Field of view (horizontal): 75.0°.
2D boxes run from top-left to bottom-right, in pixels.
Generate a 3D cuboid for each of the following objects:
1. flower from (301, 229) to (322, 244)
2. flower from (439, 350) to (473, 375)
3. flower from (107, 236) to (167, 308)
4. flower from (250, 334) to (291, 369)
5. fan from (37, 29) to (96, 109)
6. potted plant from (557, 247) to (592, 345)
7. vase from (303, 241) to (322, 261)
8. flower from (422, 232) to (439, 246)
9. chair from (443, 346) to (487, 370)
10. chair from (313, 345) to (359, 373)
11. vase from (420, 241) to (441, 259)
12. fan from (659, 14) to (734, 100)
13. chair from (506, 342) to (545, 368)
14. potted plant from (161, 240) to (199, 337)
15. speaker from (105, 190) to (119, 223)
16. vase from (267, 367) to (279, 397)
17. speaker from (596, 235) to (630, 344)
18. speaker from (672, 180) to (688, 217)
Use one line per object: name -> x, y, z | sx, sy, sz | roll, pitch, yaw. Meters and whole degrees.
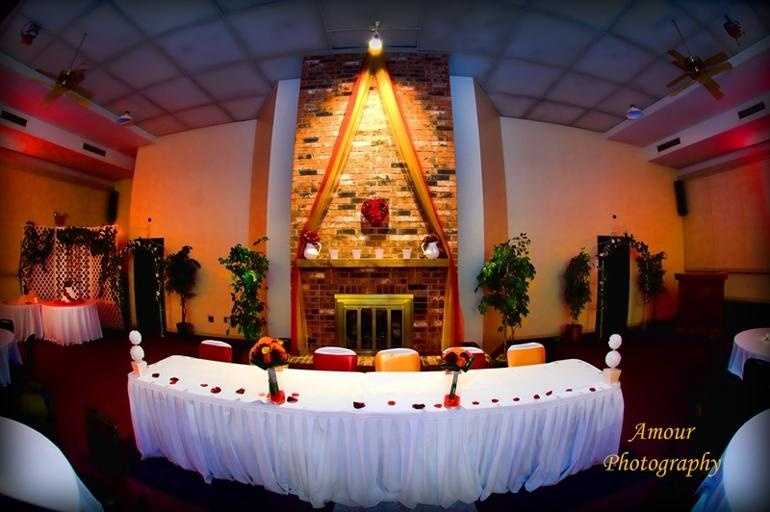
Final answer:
flower -> -1.218, -0.312, 8.271 | 0.217, 0.154, 0.221 | 7, 11, 1
flower -> 0.936, 1.360, 6.517 | 0.317, 0.330, 0.202 | -2, 25, 19
flower -> -4.649, 0.274, 9.328 | 1.091, 1.225, 0.308 | 2, -4, -7
flower -> -1.529, 1.251, 6.650 | 0.439, 0.261, 0.428 | 11, 38, -6
fan -> -4.934, -2.933, 7.740 | 0.683, 0.764, 0.688 | 36, 34, -13
potted plant -> 3.563, 0.712, 9.249 | 0.528, 1.679, 0.467 | -1, -5, 25
vase -> -1.206, -0.077, 8.293 | 0.301, 0.276, 0.197 | 4, -7, -26
flower -> 0.755, -0.271, 8.322 | 0.255, 0.262, 0.158 | -28, -8, 8
chair -> 1.131, 1.358, 6.893 | 0.482, 0.508, 0.486 | 0, -4, 6
chair -> -0.696, 1.445, 7.146 | 0.544, 0.457, 0.310 | 1, 1, 11
vase -> 0.771, -0.108, 8.280 | 0.304, 0.316, 0.221 | 0, -2, 1
fan -> 4.824, -3.087, 7.794 | 1.147, 1.234, 1.578 | 18, 24, 26
chair -> 2.055, 1.406, 7.322 | 0.370, 0.497, 0.406 | 0, -5, 5
potted plant -> -3.835, 0.636, 9.427 | 0.663, 1.685, 0.334 | 3, -4, -21
speaker -> -5.125, -0.922, 9.409 | 0.217, 0.636, 0.083 | 2, -4, -6
vase -> -1.483, 1.634, 6.677 | 0.155, 0.371, 0.321 | 2, -4, -12
speaker -> 4.198, 0.567, 9.204 | 0.576, 1.849, 0.552 | -1, -4, 22
speaker -> 5.078, -0.986, 8.587 | 0.196, 0.643, 0.096 | -2, -5, 36
